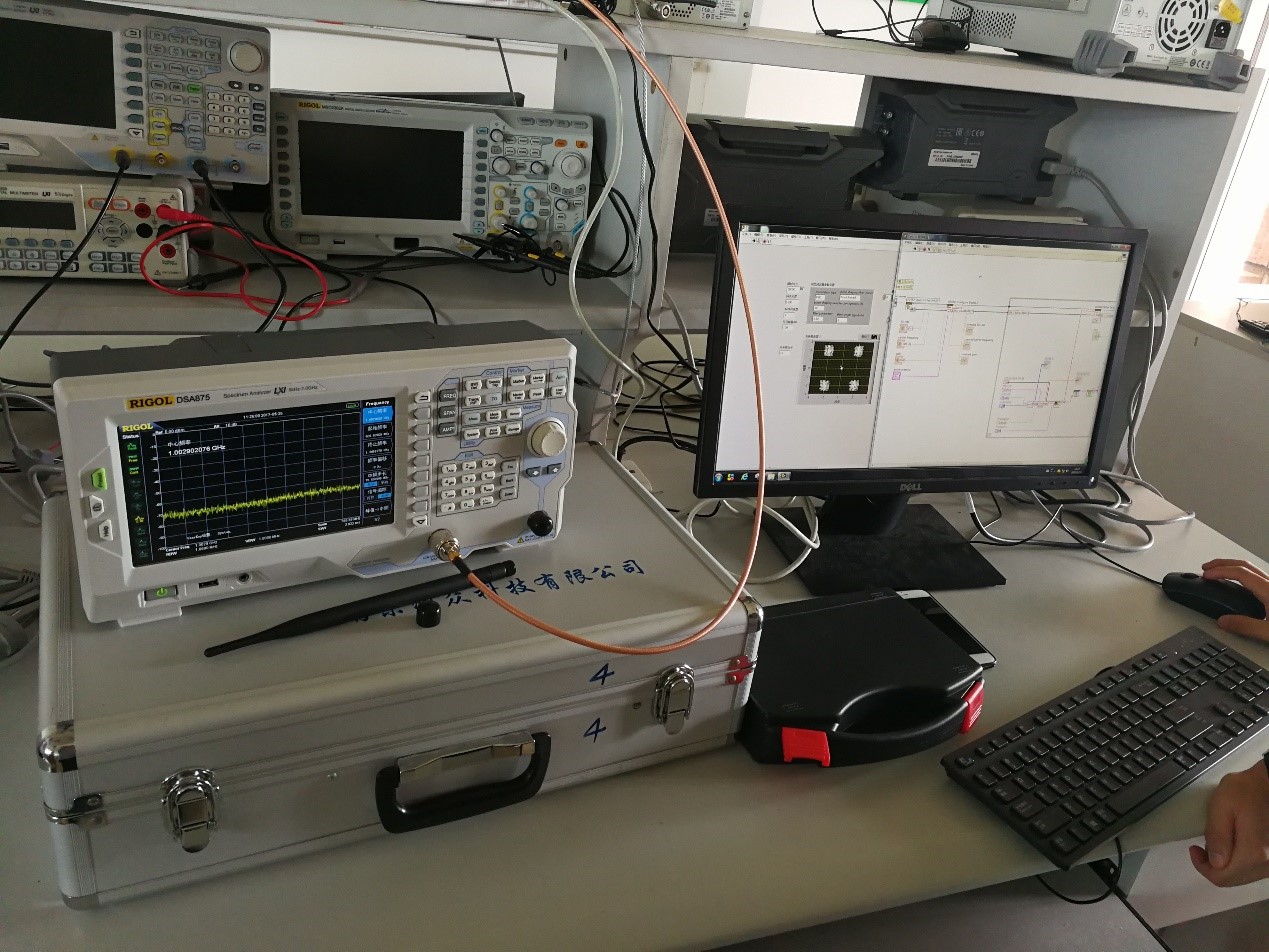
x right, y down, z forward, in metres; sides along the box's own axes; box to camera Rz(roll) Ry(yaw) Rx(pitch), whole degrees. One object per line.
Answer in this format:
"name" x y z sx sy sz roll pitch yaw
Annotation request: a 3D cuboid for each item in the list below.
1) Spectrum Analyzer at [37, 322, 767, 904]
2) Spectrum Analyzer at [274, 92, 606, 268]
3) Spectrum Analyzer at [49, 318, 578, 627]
"Spectrum Analyzer" -0.390 0.016 1.490 1.002 0.583 0.757 -7 28 -26
"Spectrum Analyzer" -0.332 -0.472 1.595 0.478 0.240 0.217 -6 26 -22
"Spectrum Analyzer" -0.411 -0.105 1.214 0.663 0.319 0.380 -10 29 -32
